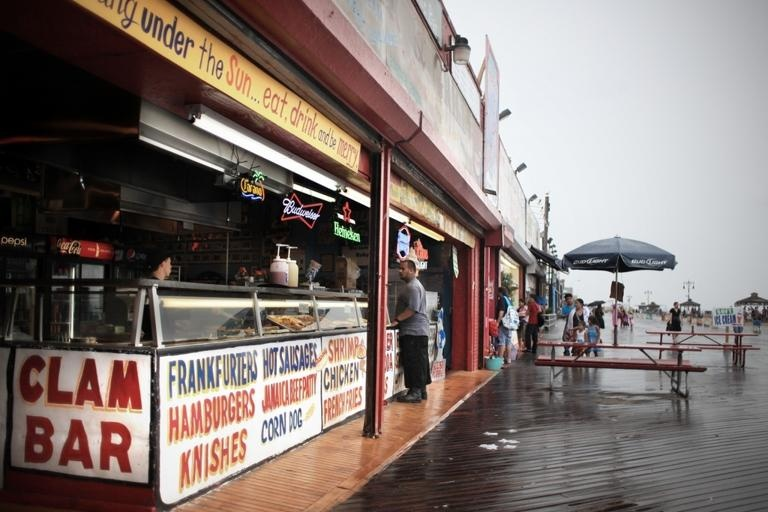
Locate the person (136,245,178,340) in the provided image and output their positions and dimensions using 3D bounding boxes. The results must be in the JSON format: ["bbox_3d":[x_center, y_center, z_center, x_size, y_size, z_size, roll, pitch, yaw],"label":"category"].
[{"bbox_3d":[-2.619,0.395,6.937,0.276,0.914,2.150,1,-1,-20],"label":"person"}]

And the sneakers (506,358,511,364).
[{"bbox_3d":[3.266,2.726,15.661,0.105,0.152,0.375,-3,-10,14],"label":"sneakers"}]

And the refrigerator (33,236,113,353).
[{"bbox_3d":[-4.117,0.449,7.832,0.553,1.975,1.033,-3,-8,23],"label":"refrigerator"}]

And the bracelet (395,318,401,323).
[{"bbox_3d":[0.231,1.045,9.793,0.082,0.089,0.174,0,-1,6],"label":"bracelet"}]

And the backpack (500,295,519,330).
[{"bbox_3d":[3.210,1.459,15.328,0.398,0.864,0.962,0,-1,15],"label":"backpack"}]

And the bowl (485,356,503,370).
[{"bbox_3d":[2.647,2.540,14.305,0.299,0.196,0.281,3,-6,0],"label":"bowl"}]

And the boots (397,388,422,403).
[{"bbox_3d":[0.428,2.297,9.915,0.450,0.337,0.176,3,-7,3],"label":"boots"}]

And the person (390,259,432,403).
[{"bbox_3d":[0.452,1.230,9.981,0.566,2.340,0.693,0,-1,5],"label":"person"}]

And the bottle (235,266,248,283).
[{"bbox_3d":[-2.493,0.320,10.559,0.179,0.356,0.189,4,-8,1],"label":"bottle"}]
